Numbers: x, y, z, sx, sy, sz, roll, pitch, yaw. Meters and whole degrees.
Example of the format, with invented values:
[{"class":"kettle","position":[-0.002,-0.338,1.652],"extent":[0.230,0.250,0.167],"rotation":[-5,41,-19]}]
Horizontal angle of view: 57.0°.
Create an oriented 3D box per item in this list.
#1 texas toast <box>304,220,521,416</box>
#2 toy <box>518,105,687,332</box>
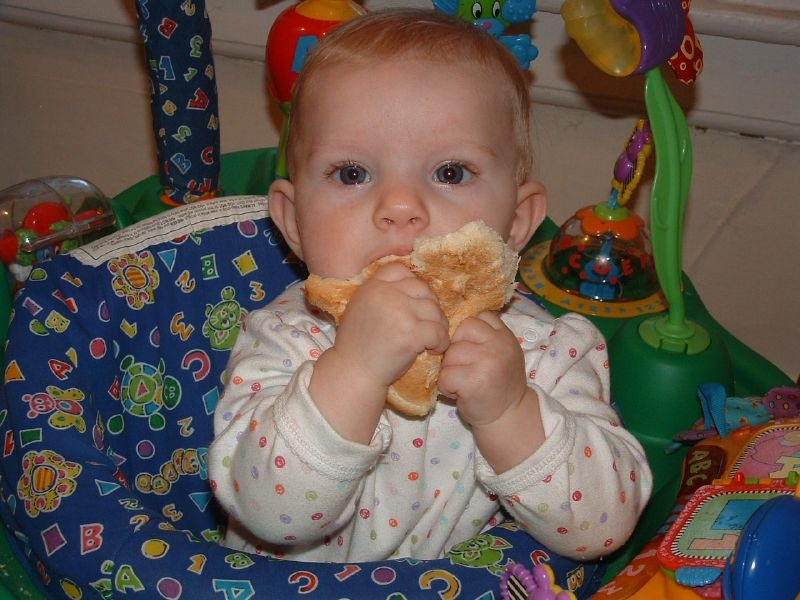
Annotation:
[{"class":"texas toast","position":[0.032,0.041,1.070],"extent":[0.325,0.077,0.270],"rotation":[-18,62,2]},{"class":"toy","position":[0.519,-0.238,1.799],"extent":[0.388,0.474,0.372],"rotation":[-19,34,-38]}]
